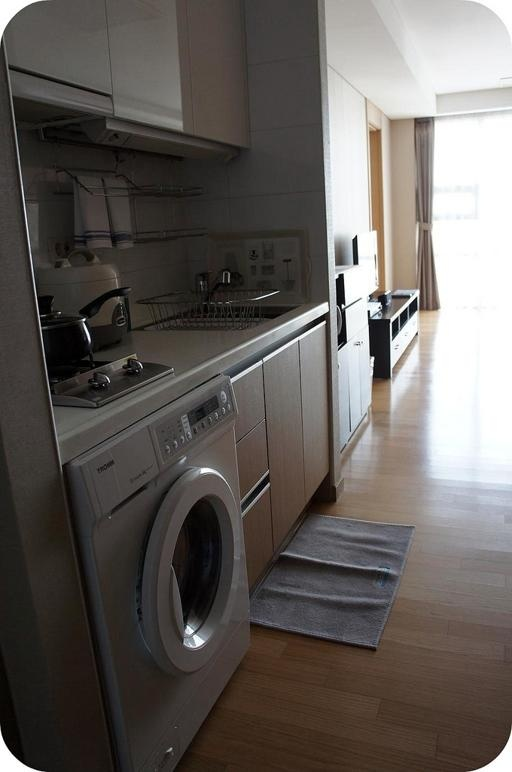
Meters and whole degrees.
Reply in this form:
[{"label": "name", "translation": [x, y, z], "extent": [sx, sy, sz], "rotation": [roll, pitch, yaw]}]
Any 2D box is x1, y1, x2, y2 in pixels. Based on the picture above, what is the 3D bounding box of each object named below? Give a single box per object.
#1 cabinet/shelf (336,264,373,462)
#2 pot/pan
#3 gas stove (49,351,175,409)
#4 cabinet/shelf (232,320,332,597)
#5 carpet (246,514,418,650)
[{"label": "cabinet/shelf", "translation": [0.625, -0.112, 3.229], "extent": [0.307, 1.032, 0.949], "rotation": [-2, 17, 10]}, {"label": "pot/pan", "translation": [-0.396, -0.114, 1.097], "extent": [0.223, 0.199, 0.162], "rotation": [-1, 14, 9]}, {"label": "gas stove", "translation": [-0.303, -0.008, 1.047], "extent": [0.191, 0.052, 0.265], "rotation": [12, 14, 18]}, {"label": "cabinet/shelf", "translation": [0.096, 0.229, 1.904], "extent": [0.250, 0.984, 0.457], "rotation": [5, 12, 14]}, {"label": "carpet", "translation": [0.308, 0.709, 1.958], "extent": [0.498, 0.024, 0.829], "rotation": [1, 12, 27]}]
